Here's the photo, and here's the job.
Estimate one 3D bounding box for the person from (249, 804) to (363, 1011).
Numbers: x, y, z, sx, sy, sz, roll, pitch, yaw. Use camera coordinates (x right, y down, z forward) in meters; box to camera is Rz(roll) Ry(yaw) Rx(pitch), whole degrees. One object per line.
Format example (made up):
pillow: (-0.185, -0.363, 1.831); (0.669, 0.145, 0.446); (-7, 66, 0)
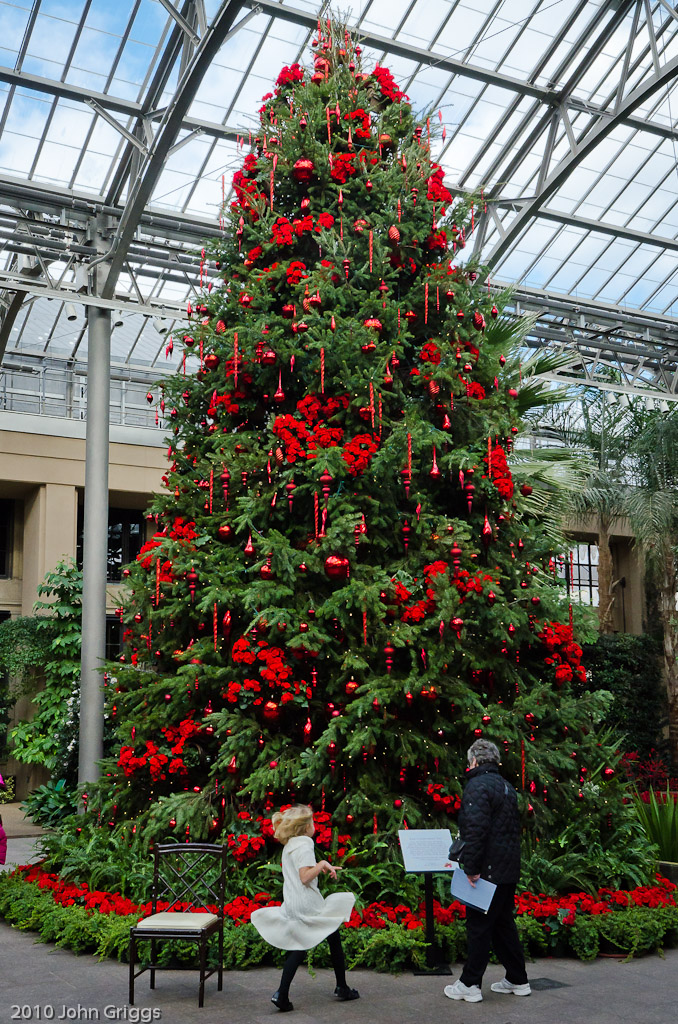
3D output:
person: (-0.159, 1.840, 4.802); (0.473, 0.906, 0.762); (-2, -10, 0)

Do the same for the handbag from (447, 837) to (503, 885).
handbag: (0.604, 1.617, 4.747); (0.187, 0.093, 0.262); (18, -13, 39)

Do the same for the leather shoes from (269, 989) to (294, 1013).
leather shoes: (-0.262, 2.163, 4.498); (0.052, 0.064, 0.151); (-1, -11, 23)

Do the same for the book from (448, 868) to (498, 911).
book: (0.606, 1.704, 4.599); (0.229, 0.155, 0.053); (19, 0, 37)

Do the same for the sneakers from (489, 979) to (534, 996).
sneakers: (0.819, 2.239, 4.843); (0.194, 0.085, 0.069); (5, -8, 14)

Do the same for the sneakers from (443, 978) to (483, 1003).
sneakers: (0.573, 2.218, 4.732); (0.191, 0.090, 0.072); (2, -3, 25)

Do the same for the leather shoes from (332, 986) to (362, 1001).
leather shoes: (0.038, 2.235, 4.738); (0.124, 0.048, 0.049); (0, 0, -13)
